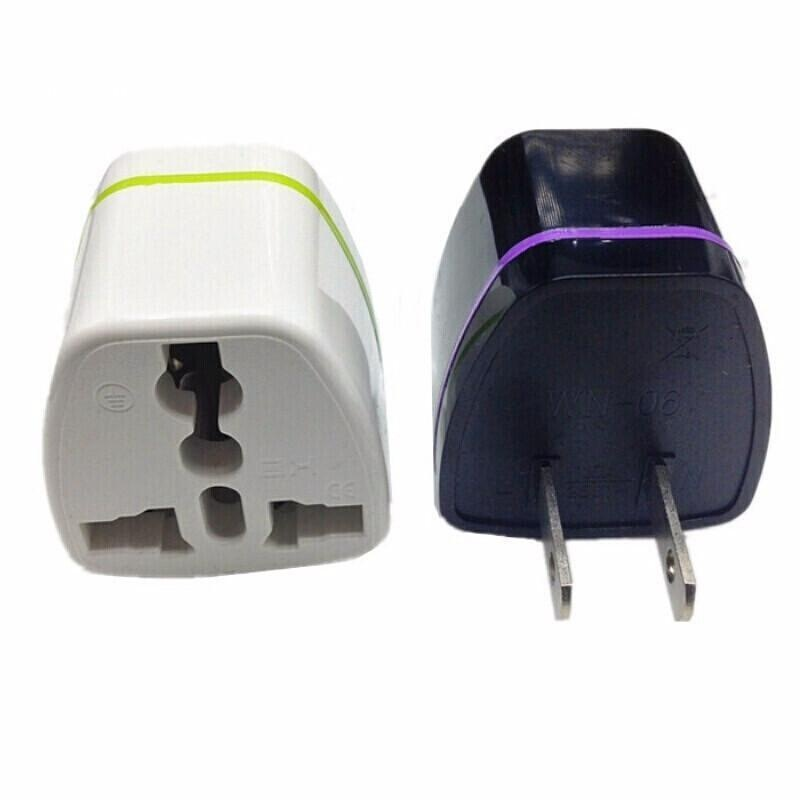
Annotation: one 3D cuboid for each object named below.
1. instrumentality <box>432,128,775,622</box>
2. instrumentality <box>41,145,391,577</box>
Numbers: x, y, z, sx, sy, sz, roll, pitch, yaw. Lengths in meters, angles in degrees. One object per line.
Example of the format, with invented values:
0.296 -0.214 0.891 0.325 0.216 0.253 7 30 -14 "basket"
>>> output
0.233 -0.104 1.501 0.303 0.680 0.332 -1 -24 0 "instrumentality"
-0.209 -0.063 1.435 0.410 0.541 0.288 0 -6 -20 "instrumentality"
